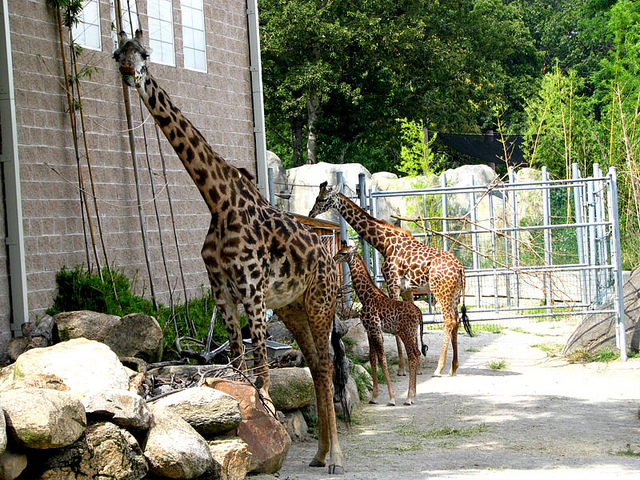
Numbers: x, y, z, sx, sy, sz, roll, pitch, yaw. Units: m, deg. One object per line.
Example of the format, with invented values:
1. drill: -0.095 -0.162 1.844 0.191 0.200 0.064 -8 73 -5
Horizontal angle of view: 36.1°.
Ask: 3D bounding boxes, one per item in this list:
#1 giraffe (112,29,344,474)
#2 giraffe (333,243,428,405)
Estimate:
1. giraffe: -0.861 0.164 11.404 2.129 5.021 1.073 -3 0 -4
2. giraffe: 0.847 1.203 14.274 1.207 2.303 0.658 -4 0 38
